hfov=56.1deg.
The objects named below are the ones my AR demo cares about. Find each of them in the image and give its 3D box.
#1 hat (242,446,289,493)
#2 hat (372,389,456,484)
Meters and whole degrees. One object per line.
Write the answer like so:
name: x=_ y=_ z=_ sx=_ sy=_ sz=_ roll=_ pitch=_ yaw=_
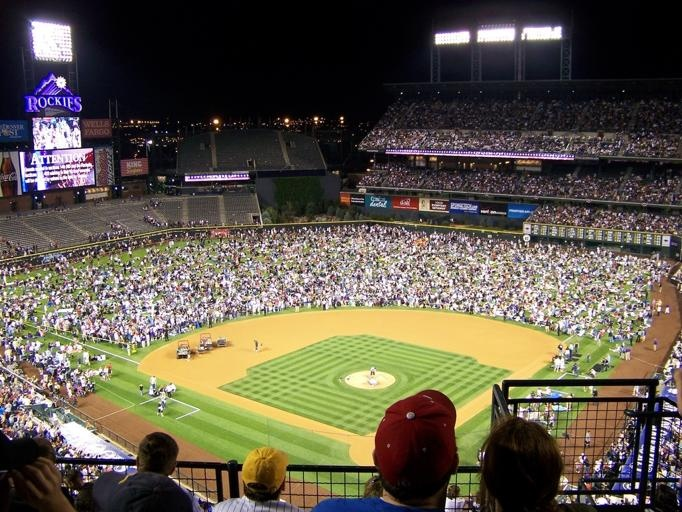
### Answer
hat: x=-0.767 y=2.105 z=6.376 sx=0.436 sy=0.409 sz=0.400 roll=-3 pitch=14 yaw=-6
hat: x=0.613 y=1.442 z=5.284 sx=0.499 sy=0.424 sz=0.785 roll=1 pitch=43 yaw=18
